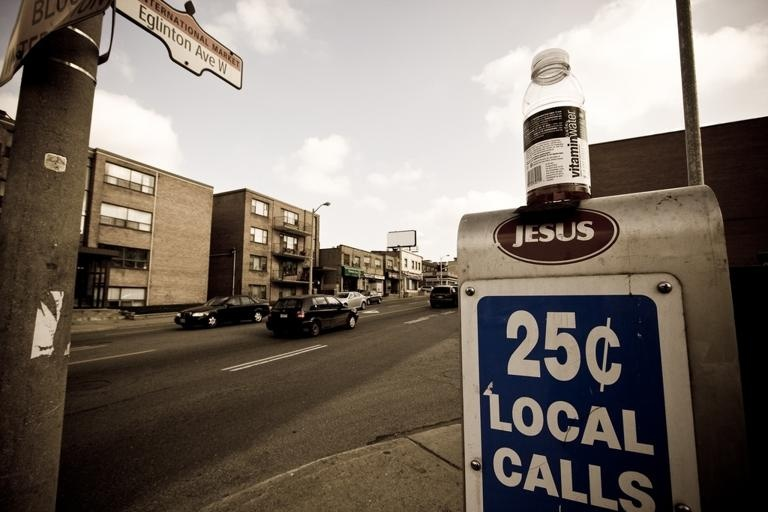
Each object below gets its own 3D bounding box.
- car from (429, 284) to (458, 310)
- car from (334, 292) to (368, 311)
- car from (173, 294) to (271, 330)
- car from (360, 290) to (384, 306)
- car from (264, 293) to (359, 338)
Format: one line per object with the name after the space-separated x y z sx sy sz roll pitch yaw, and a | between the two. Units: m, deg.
3.129 2.057 28.991 1.362 1.179 3.021 -4 -11 13 | car
-1.530 2.342 30.543 1.061 0.829 2.257 -7 -17 36 | car
-5.385 1.990 19.089 1.437 1.054 3.451 -5 -9 27 | car
-0.717 2.711 37.171 0.824 0.650 1.881 -7 -15 25 | car
-1.960 1.628 15.732 0.988 0.806 2.408 -1 0 27 | car
